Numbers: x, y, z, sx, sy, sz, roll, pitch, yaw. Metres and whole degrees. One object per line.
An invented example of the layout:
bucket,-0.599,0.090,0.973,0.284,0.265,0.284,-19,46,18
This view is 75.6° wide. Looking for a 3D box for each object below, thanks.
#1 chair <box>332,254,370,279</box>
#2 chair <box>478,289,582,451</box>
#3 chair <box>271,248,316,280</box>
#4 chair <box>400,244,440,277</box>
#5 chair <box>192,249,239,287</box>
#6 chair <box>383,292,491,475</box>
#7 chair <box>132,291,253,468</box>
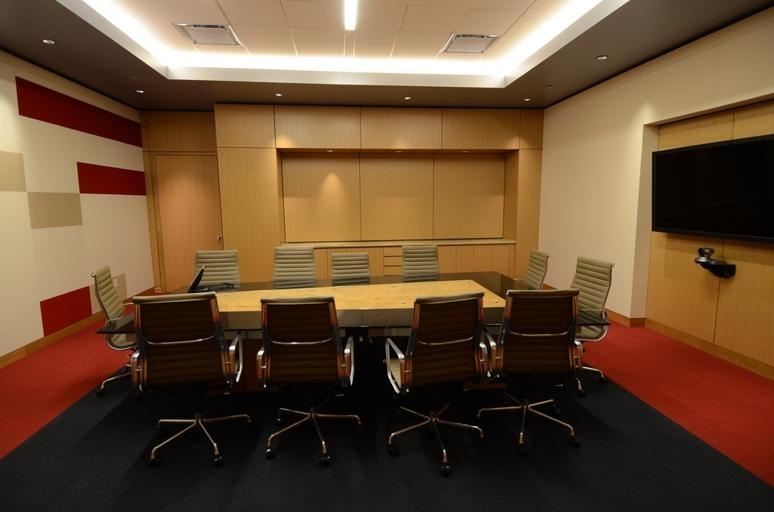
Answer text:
chair,-0.527,0.166,7.202,0.408,0.496,0.402,-1,5,-9
chair,1.656,1.160,5.780,1.088,1.600,1.186,2,1,26
chair,-1.344,0.113,7.217,0.499,0.598,0.486,-1,4,-6
chair,0.477,0.077,7.299,0.479,0.575,0.460,-1,3,-4
chair,-2.394,0.177,7.056,0.557,0.622,0.549,-1,4,-13
chair,0.534,1.273,5.649,1.171,1.850,1.106,-6,9,-30
chair,-2.203,1.298,5.757,1.170,1.802,1.243,-3,4,-17
